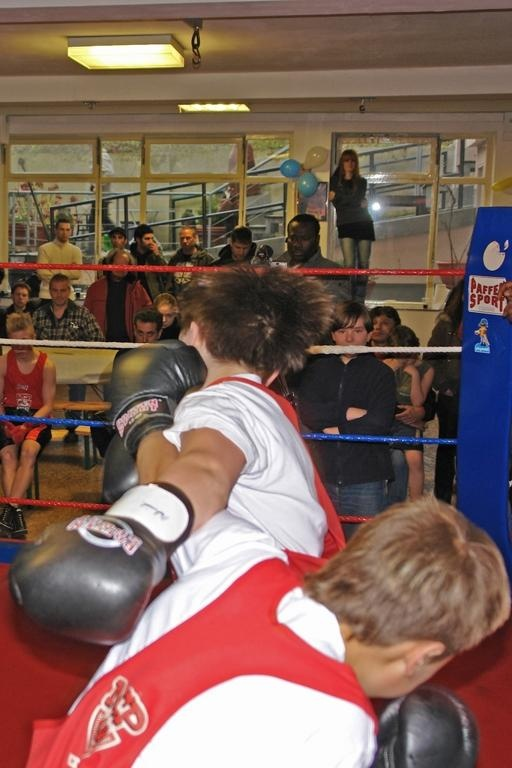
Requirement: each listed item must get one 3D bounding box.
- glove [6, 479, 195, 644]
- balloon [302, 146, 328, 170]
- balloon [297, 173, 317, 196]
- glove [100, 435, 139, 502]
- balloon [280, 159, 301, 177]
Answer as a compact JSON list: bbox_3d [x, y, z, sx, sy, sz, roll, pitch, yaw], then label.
[{"bbox_3d":[-0.144,0.161,0.629,0.138,0.081,0.203,21,33,18],"label":"glove"},{"bbox_3d":[0.694,-2.583,7.153,0.278,0.274,0.259,2,11,5],"label":"balloon"},{"bbox_3d":[0.572,-2.182,6.861,0.187,0.259,0.318,3,11,9],"label":"balloon"},{"bbox_3d":[-0.197,0.124,0.980,0.040,0.108,0.080,4,-25,2],"label":"glove"},{"bbox_3d":[0.410,-2.441,7.096,0.222,0.224,0.464,2,10,5],"label":"balloon"}]
